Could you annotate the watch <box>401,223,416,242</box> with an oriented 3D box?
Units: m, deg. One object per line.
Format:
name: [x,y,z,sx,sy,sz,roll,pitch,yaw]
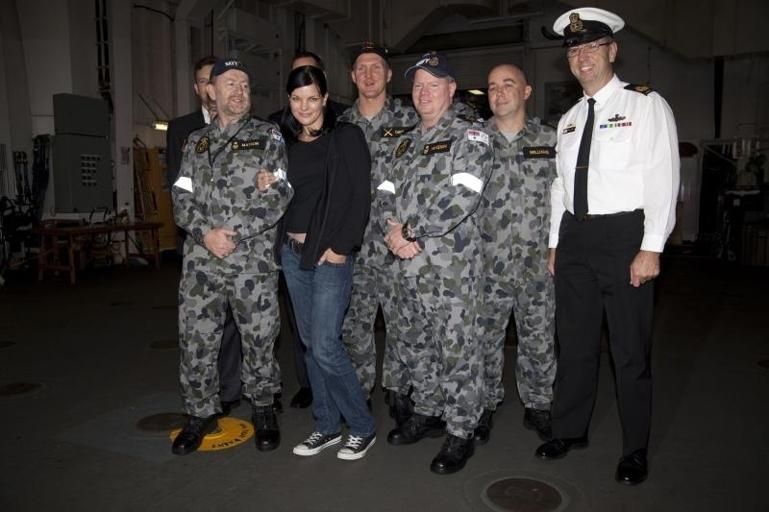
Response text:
watch: [0.146,-0.152,3.700,0.071,0.114,0.036,-33,-19,32]

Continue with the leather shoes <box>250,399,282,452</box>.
leather shoes: [-0.807,1.191,3.980,0.135,0.241,0.359,-2,-1,-13]

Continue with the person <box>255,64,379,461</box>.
person: [-0.386,0.049,3.838,0.616,2.506,0.730,-2,15,-8]

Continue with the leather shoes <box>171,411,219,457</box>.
leather shoes: [-1.269,1.177,4.026,0.142,0.196,0.424,11,21,24]

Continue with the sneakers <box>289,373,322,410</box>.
sneakers: [-0.611,1.080,4.560,0.167,0.164,0.423,1,-5,8]

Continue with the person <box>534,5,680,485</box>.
person: [1.412,-0.090,3.722,0.936,2.872,0.701,12,19,38]

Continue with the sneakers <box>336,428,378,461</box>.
sneakers: [-0.181,1.272,3.937,0.112,0.116,0.307,1,-1,34]

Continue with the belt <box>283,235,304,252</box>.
belt: [-0.592,-0.075,3.851,0.117,0.057,0.088,36,-13,-37]

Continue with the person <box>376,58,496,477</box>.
person: [0.333,0.016,3.826,0.674,2.600,0.911,-8,17,-26]

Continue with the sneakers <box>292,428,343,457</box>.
sneakers: [-0.455,1.268,3.981,0.343,0.129,0.123,-2,4,-34]

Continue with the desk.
desk: [-4.415,-0.111,9.134,0.663,0.656,1.946,2,6,18]

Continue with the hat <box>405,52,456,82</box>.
hat: [0.293,-1.246,3.801,0.313,0.184,0.236,3,15,8]
